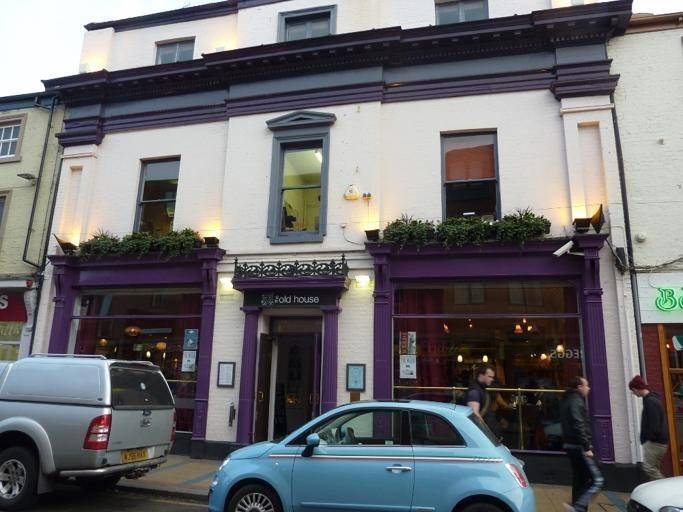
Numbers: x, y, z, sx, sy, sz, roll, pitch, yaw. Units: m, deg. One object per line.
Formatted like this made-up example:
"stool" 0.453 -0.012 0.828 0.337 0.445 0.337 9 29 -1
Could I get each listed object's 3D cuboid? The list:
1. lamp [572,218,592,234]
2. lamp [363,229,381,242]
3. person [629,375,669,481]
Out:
"lamp" 5.478 -0.710 12.785 0.466 0.272 0.351 0 -14 4
"lamp" 0.728 -0.490 13.822 0.406 0.279 0.307 -1 -26 4
"person" 5.832 3.252 10.540 0.533 1.926 0.691 -7 -20 26
